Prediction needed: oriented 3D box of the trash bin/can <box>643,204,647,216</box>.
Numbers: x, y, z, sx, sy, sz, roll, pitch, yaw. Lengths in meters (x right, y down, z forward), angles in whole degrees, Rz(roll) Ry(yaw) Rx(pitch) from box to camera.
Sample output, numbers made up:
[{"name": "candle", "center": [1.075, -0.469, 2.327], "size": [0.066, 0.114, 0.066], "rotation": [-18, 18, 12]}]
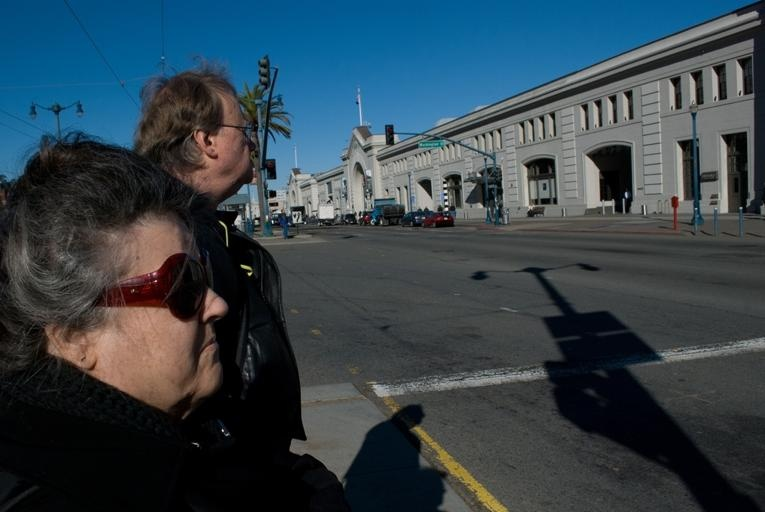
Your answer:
[{"name": "trash bin/can", "center": [15.859, -2.810, 34.722], "size": [0.245, 0.567, 0.595], "rotation": [1, 8, 24]}]

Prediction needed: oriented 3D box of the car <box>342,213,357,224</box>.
[{"name": "car", "center": [-3.755, -4.078, 64.530], "size": [0.957, 0.766, 1.494], "rotation": [-1, -1, -22]}]

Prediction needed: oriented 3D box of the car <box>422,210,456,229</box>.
[{"name": "car", "center": [3.948, -2.607, 41.620], "size": [1.042, 0.752, 2.439], "rotation": [-5, 8, -13]}]

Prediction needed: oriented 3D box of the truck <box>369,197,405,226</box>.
[{"name": "truck", "center": [0.407, -4.135, 56.989], "size": [2.463, 2.183, 4.045], "rotation": [-1, 6, -9]}]

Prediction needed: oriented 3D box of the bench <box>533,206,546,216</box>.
[{"name": "bench", "center": [12.060, -3.419, 44.120], "size": [0.289, 0.714, 1.306], "rotation": [-5, 8, -19]}]

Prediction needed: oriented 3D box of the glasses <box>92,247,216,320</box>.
[{"name": "glasses", "center": [-0.532, 0.072, 1.369], "size": [0.164, 0.079, 0.167], "rotation": [-8, 7, -9]}]

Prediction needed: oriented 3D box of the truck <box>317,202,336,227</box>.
[{"name": "truck", "center": [-6.867, -5.023, 71.454], "size": [1.827, 1.819, 3.058], "rotation": [0, 6, -4]}]
